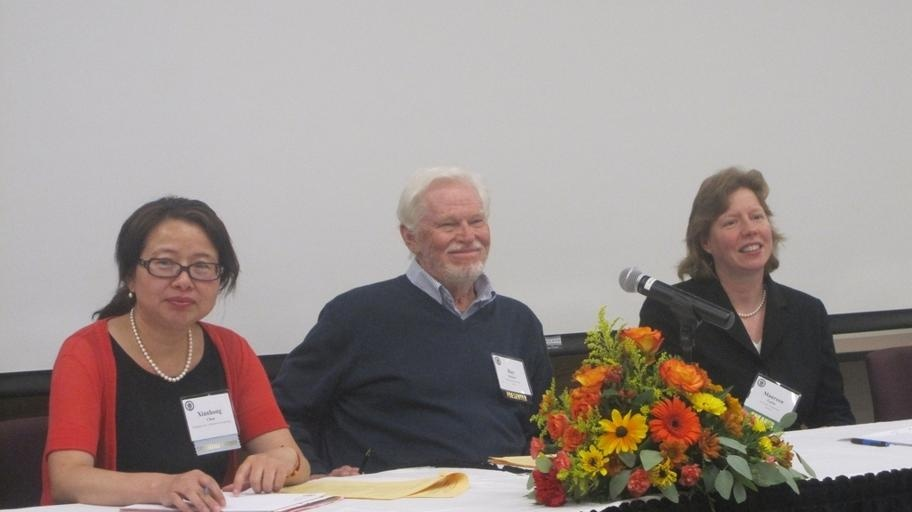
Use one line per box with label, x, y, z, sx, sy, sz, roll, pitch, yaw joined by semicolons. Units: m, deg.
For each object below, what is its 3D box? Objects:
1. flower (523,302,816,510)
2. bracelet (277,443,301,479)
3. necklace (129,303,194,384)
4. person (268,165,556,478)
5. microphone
flower;0.853;0.562;4.095;1.051;0.750;0.900;1;-1;-5
bracelet;-0.782;0.976;4.142;0.039;0.103;0.077;-17;-24;-34
necklace;-1.444;0.444;4.258;0.259;0.379;0.058;-16;-6;-32
person;-0.328;0.381;4.833;1.617;1.559;0.835;5;-10;-23
microphone;1.263;0.245;4.937;0.622;0.167;0.173;22;27;30
